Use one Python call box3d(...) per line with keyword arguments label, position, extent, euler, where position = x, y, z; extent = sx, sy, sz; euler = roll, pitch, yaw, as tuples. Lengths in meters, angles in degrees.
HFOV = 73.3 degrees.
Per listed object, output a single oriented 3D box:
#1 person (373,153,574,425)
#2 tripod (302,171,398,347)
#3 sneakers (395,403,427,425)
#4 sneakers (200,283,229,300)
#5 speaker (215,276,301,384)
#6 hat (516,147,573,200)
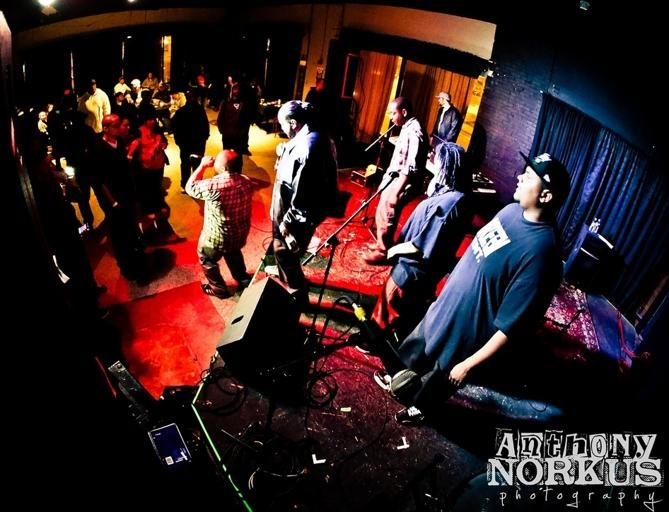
box3d(label="person", position=(1.216, 0.493, 3.821), extent=(1.008, 2.699, 0.646), euler=(21, 28, 29))
box3d(label="tripod", position=(0.197, 0.062, 5.639), extent=(0.350, 3.182, 0.154), euler=(11, 41, -20))
box3d(label="sneakers", position=(0.743, 1.549, 4.389), extent=(0.283, 0.095, 0.180), euler=(-3, 39, 5))
box3d(label="sneakers", position=(-1.508, 0.449, 5.797), extent=(0.368, 0.163, 0.148), euler=(20, 22, -5))
box3d(label="speaker", position=(-0.711, 0.744, 4.329), extent=(0.425, 0.583, 0.830), euler=(-15, 38, 22))
box3d(label="hat", position=(1.597, -0.655, 3.401), extent=(0.402, 0.141, 0.344), euler=(52, 28, 21))
